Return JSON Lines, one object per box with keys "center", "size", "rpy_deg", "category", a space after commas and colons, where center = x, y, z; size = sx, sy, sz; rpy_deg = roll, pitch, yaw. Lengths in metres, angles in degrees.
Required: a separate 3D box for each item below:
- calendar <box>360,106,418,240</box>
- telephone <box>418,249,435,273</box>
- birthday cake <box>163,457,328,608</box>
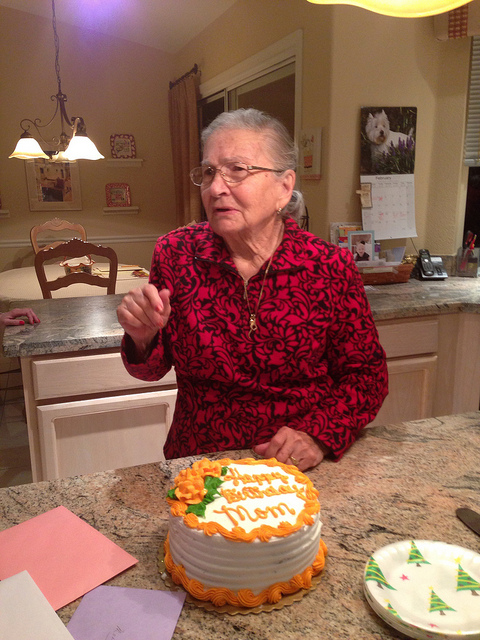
{"center": [0.924, -0.911, 2.833], "size": [0.365, 0.793, 0.083], "rpy_deg": [-4, 8, -15], "category": "calendar"}
{"center": [1.145, -0.363, 2.786], "size": [0.081, 0.133, 0.116], "rpy_deg": [0, 8, 12], "category": "telephone"}
{"center": [0.006, 0.255, 0.597], "size": [0.198, 0.114, 0.184], "rpy_deg": [-7, 15, -39], "category": "birthday cake"}
